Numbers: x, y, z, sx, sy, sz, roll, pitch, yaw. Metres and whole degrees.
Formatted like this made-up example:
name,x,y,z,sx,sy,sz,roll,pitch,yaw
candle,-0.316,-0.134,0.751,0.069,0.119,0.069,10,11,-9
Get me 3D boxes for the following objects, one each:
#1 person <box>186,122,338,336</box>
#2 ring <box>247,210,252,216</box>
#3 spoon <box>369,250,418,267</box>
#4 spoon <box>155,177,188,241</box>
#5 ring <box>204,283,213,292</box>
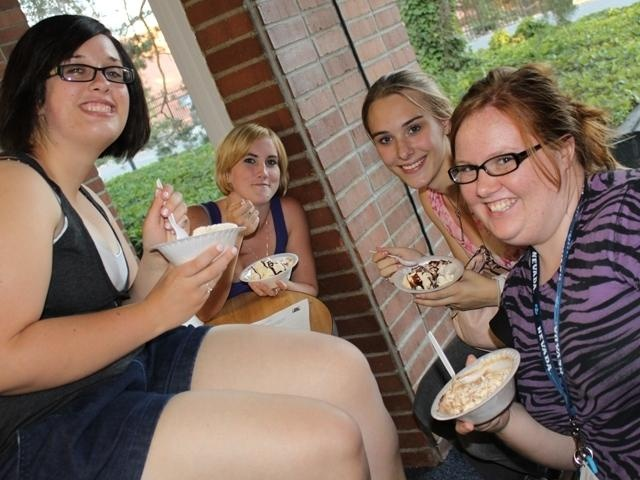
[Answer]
name,x,y,z,sx,sy,sz,roll,pitch,yaw
person,-0.308,-0.088,2.367,0.677,1.165,0.631,-13,26,-39
ring,-0.345,-0.133,2.260,0.029,0.026,0.007,3,3,-35
spoon,0.374,0.098,2.188,0.137,0.032,0.096,13,16,12
spoon,-0.482,-0.086,1.554,0.125,0.257,0.143,-4,16,-20
ring,-0.331,0.140,1.369,0.004,0.014,0.034,-20,-6,12
